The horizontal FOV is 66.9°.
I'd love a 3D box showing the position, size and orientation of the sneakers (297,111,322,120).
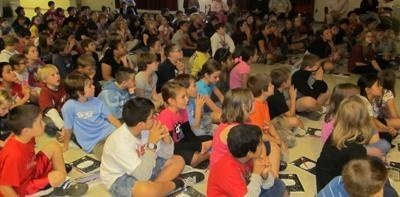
[{"bbox_3d":[2.302,0.364,6.274,0.495,0.149,0.266,-2,10,-3],"label":"sneakers"}]
